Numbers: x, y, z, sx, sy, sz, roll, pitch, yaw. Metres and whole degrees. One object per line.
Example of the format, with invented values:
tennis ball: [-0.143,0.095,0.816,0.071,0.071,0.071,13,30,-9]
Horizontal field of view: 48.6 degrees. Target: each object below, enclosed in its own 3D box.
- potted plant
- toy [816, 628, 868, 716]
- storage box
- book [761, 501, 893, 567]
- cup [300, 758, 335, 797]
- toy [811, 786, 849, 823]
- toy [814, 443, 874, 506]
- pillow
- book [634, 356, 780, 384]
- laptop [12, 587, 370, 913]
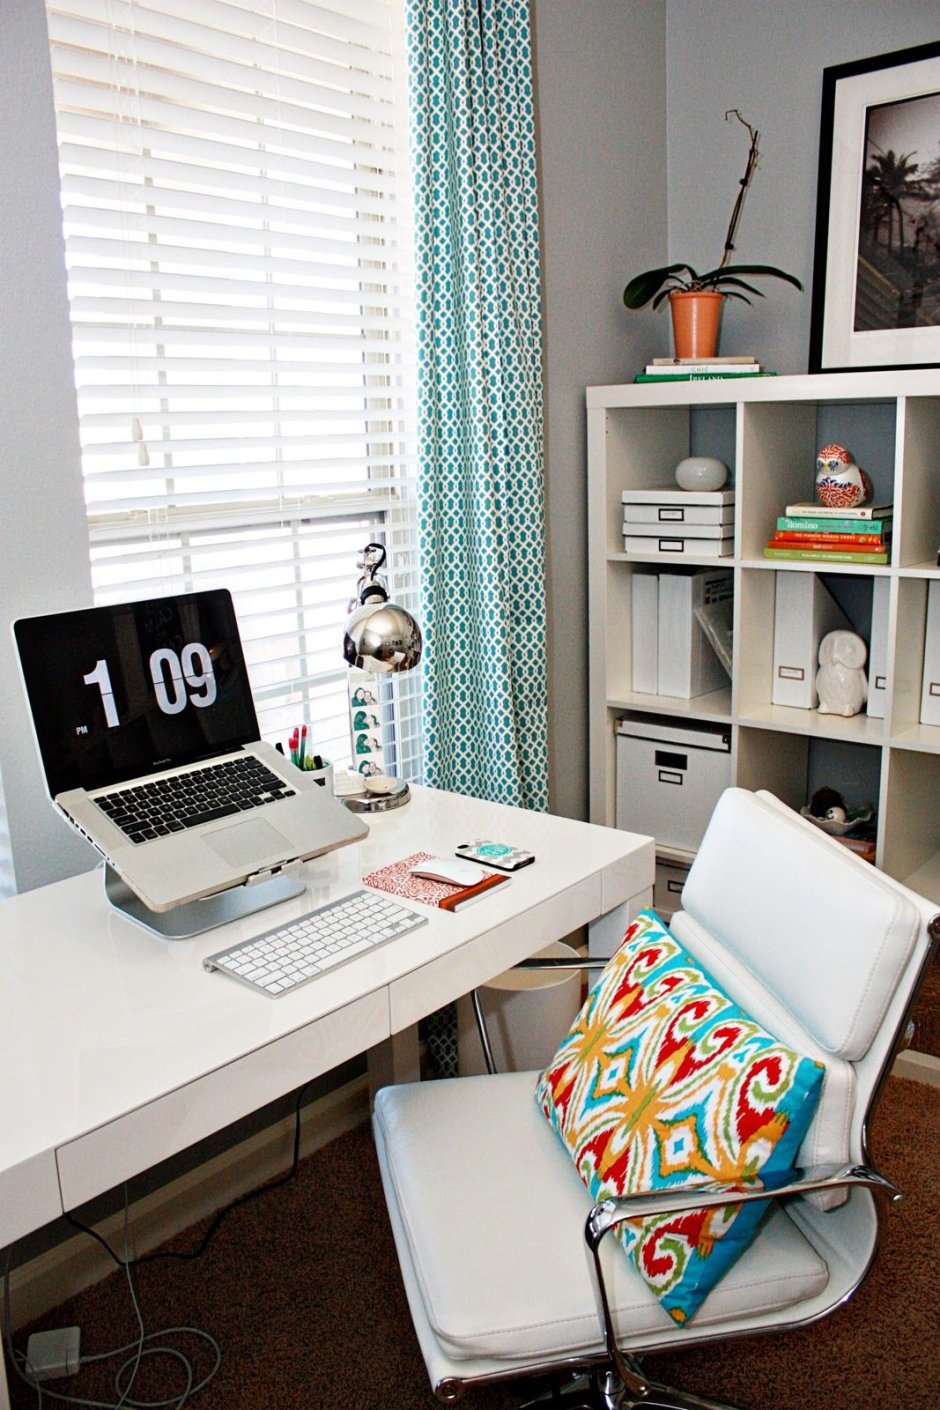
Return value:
potted plant: [0.577,-0.926,2.451,0.417,0.191,0.398,-17,19,-34]
toy: [0.857,-0.074,2.384,0.114,0.189,0.118,-8,15,-14]
storage box: [0.542,0.188,2.659,0.300,0.397,0.229,6,29,21]
book: [0.770,-0.363,2.241,0.250,0.119,0.134,5,13,17]
cup: [-0.247,0.122,1.726,0.054,0.051,0.061,1,6,15]
toy: [0.856,0.232,2.475,0.059,0.033,0.084,3,28,11]
toy: [0.818,-0.496,2.281,0.118,0.125,0.077,7,13,24]
pillow: [0.208,0.445,1.180,0.172,0.269,0.456,3,5,-14]
book: [0.531,-0.772,2.411,0.285,0.072,0.212,7,14,24]
laptop: [-0.371,0.068,1.513,0.446,0.459,0.406,32,34,33]
